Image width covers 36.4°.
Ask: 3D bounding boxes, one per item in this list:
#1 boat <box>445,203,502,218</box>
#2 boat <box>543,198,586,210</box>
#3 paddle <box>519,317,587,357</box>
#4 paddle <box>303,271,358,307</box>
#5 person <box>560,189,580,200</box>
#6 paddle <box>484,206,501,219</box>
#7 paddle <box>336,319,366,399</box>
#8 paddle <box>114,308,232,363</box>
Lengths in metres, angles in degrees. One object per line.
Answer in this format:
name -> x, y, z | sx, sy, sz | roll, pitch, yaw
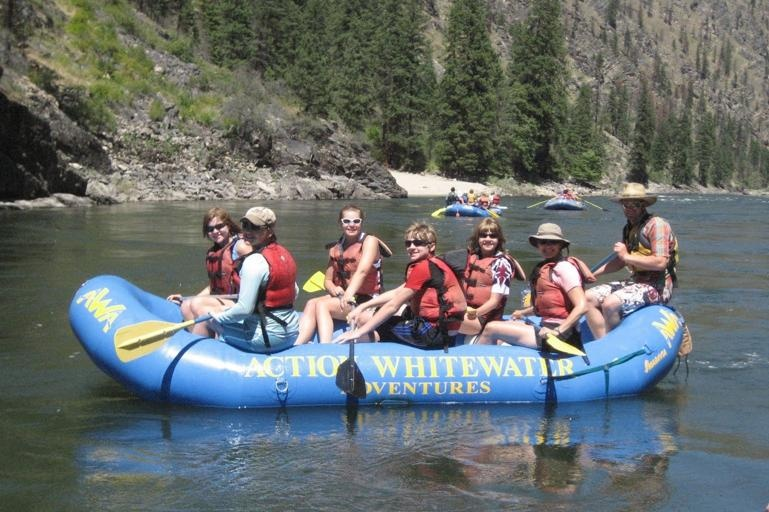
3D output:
boat -> 4.102, -2.062, 52.564 | 2.852, 0.647, 1.963 | -1, 12, -17
boat -> 8.957, -2.581, 57.773 | 2.282, 0.706, 0.926 | -2, 12, -20
paddle -> 4.461, 2.295, 32.492 | 2.340, 0.403, 0.566 | 30, 21, 29
paddle -> -1.492, 0.969, 33.249 | 1.459, 0.731, 0.243 | 34, 6, -18
person -> 9.290, -3.097, 58.585 | 0.993, 0.294, 1.686 | 15, 7, 6
paddle -> 4.903, -1.991, 52.965 | 0.888, 0.196, 1.099 | 12, 6, -11
paddle -> -0.899, 2.958, 32.159 | 0.909, 2.154, 0.318 | 2, 3, -4
paddle -> -6.014, 2.134, 31.790 | 3.646, 1.004, 0.306 | -13, -2, -4
